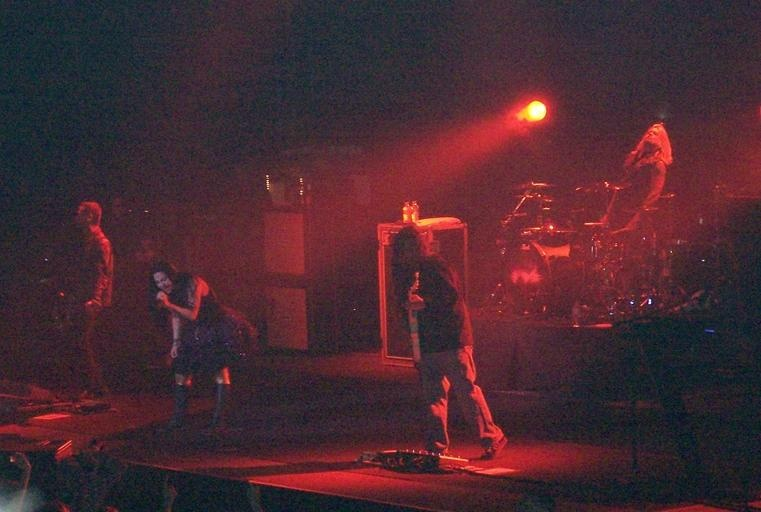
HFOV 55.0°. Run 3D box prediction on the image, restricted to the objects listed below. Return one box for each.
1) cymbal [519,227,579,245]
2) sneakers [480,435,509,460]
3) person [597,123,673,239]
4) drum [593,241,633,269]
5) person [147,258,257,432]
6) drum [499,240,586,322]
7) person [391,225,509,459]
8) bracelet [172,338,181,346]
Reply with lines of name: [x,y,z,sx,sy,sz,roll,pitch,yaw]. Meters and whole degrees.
cymbal: [2.060,-0.247,9.015,0.389,0.134,0.341,4,-3,-12]
sneakers: [1.069,1.824,6.927,0.166,0.121,0.379,1,-29,-15]
person: [3.130,-0.958,9.065,0.886,1.381,0.643,-11,-11,35]
drum: [2.779,-0.023,8.800,0.465,0.348,0.135,-3,-9,-9]
person: [-1.851,0.942,7.690,1.000,1.774,0.552,-4,-9,-6]
drum: [1.987,0.359,9.059,0.934,1.070,1.168,5,-7,-41]
person: [0.612,0.806,7.057,0.873,2.264,0.359,-4,-9,-2]
bracelet: [-2.131,0.901,7.663,0.074,0.069,0.070,0,-6,5]
